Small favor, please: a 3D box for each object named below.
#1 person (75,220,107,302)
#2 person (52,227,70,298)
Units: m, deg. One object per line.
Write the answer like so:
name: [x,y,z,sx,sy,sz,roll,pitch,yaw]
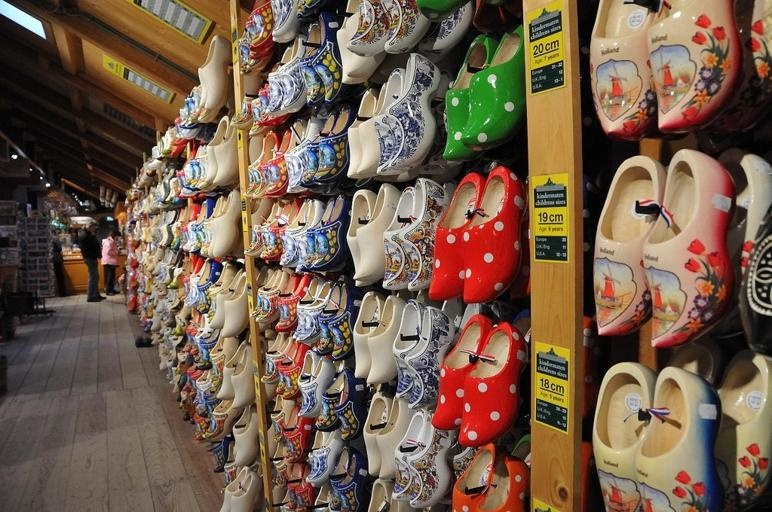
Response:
person: [-5.644,0.103,10.920,0.490,1.521,1.217,4,-5,-27]
person: [-6.829,0.193,11.984,0.346,1.297,1.438,4,-5,-29]
